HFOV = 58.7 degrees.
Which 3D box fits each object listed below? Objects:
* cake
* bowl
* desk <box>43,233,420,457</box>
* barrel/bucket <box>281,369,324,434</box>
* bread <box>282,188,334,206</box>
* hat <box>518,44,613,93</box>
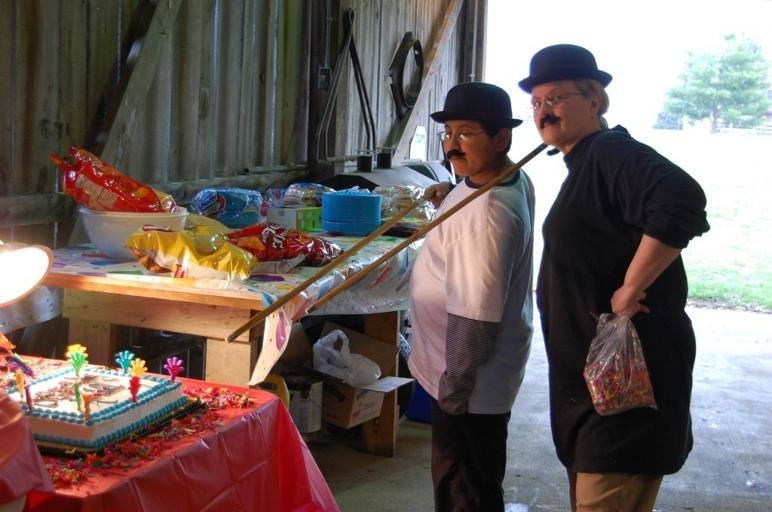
[{"bbox_3d":[-0.884,0.460,2.114,0.288,0.078,0.295,19,19,37],"label":"cake"},{"bbox_3d":[-1.053,-0.085,2.799,0.278,0.146,0.280,2,2,0],"label":"bowl"},{"bbox_3d":[-0.530,0.252,3.123,1.217,0.901,1.454,5,5,33],"label":"desk"},{"bbox_3d":[-0.393,0.756,3.796,0.308,0.318,0.329,0,10,0],"label":"barrel/bucket"},{"bbox_3d":[-0.458,-0.330,3.877,0.253,0.096,0.211,3,9,-5],"label":"bread"},{"bbox_3d":[0.683,-0.713,2.614,0.404,0.132,0.341,-1,3,-15],"label":"hat"}]
